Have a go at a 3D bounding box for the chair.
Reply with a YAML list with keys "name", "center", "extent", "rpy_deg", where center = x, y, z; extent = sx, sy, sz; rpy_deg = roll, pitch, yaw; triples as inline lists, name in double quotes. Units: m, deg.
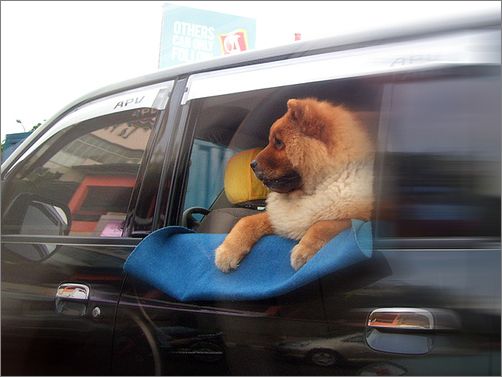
- name: "chair"
  center: [-0.080, 0.011, 2.041]
  extent: [0.460, 0.445, 0.598]
  rpy_deg: [3, 3, 1]
